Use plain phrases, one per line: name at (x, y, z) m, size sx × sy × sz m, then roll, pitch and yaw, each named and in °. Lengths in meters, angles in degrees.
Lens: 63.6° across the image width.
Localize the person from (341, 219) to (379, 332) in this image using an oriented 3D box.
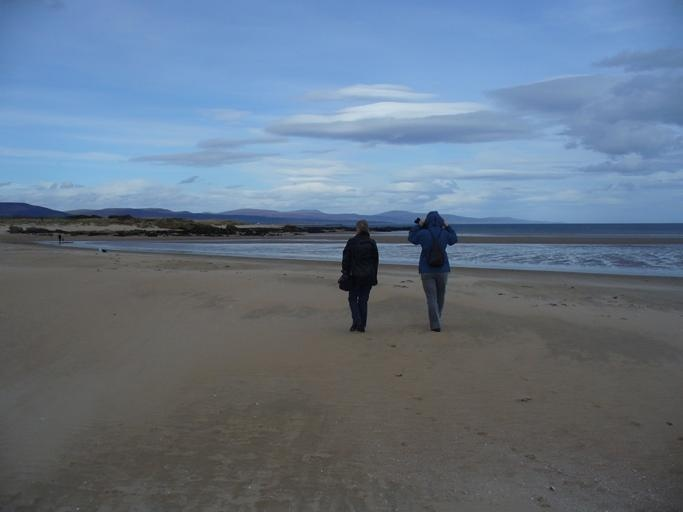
person at (0.380, 0.397, 10.889) m, size 0.750 × 2.223 × 0.633 m, roll 0°, pitch 10°, yaw 1°

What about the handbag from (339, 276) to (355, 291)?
handbag at (0.127, 0.545, 10.871) m, size 0.280 × 0.308 × 0.276 m, roll 7°, pitch 6°, yaw 38°

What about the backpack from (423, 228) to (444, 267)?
backpack at (1.913, -0.099, 10.704) m, size 0.349 × 0.625 × 0.364 m, roll 2°, pitch 10°, yaw 9°
